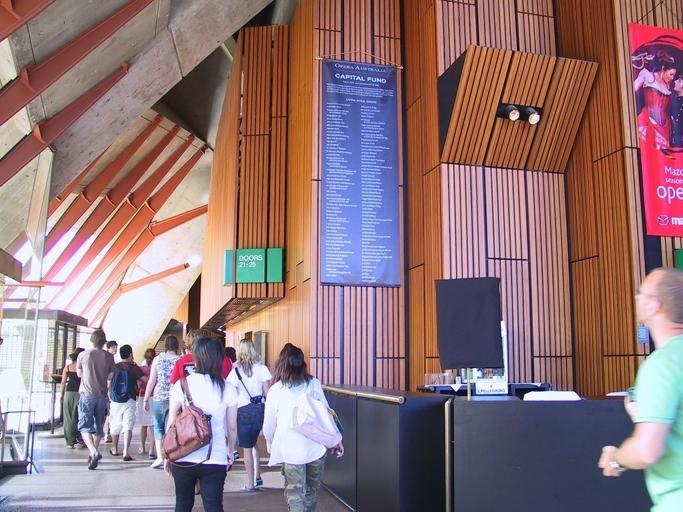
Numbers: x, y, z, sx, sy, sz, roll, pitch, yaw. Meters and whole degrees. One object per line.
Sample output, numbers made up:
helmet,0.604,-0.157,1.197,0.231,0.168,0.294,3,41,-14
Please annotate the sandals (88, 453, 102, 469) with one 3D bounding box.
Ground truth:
sandals,-3.380,2.777,8.649,0.145,0.211,0.383,3,-13,-21

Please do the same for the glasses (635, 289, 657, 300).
glasses,1.709,0.211,3.535,0.061,0.024,0.068,3,-14,1

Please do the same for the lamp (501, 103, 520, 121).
lamp,2.212,-1.869,8.248,0.213,0.243,0.216,14,-57,-1

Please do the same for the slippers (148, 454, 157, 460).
slippers,-2.815,2.970,9.417,0.057,0.070,0.162,8,-14,-35

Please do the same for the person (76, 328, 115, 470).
person,-3.607,2.034,9.250,0.519,1.930,1.356,3,-12,-21

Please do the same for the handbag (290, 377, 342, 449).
handbag,-0.214,1.406,5.432,0.419,0.462,0.162,0,-12,-11

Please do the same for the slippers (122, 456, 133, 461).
slippers,-3.095,2.912,9.189,0.130,0.085,0.268,2,-13,-19
